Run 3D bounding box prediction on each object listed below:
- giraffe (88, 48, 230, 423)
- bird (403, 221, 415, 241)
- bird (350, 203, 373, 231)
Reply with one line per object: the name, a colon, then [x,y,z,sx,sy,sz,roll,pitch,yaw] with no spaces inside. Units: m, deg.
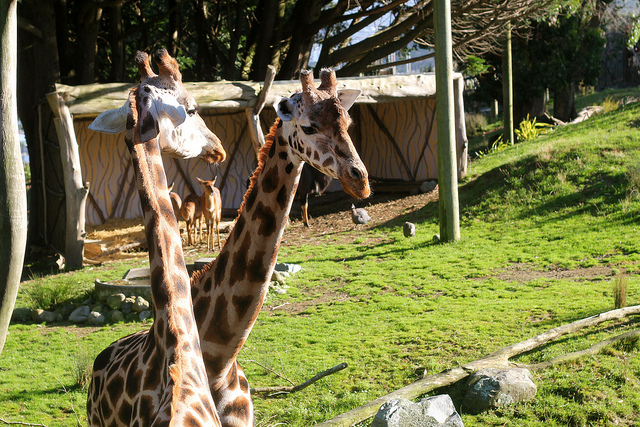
giraffe: [-2.234,0.319,13.922,1.489,5.571,1.190,-5,3,-13]
bird: [2.026,0.411,21.177,0.259,0.398,0.434,-4,4,5]
bird: [0.941,0.100,21.843,0.284,0.627,0.827,2,1,28]
